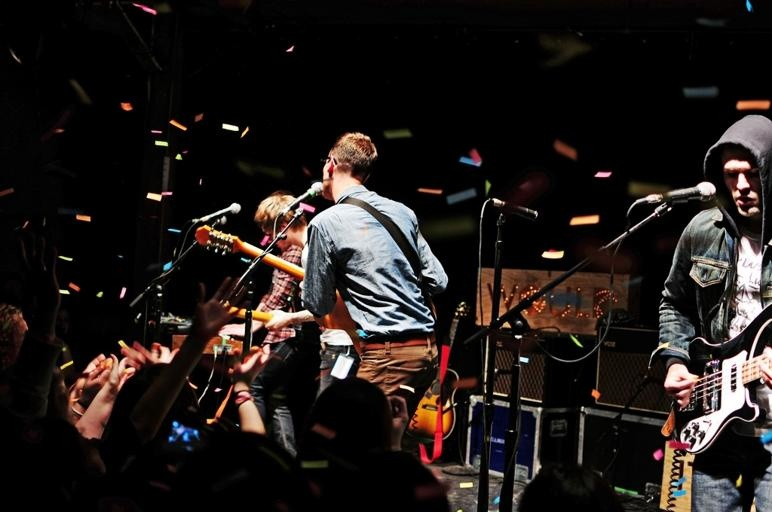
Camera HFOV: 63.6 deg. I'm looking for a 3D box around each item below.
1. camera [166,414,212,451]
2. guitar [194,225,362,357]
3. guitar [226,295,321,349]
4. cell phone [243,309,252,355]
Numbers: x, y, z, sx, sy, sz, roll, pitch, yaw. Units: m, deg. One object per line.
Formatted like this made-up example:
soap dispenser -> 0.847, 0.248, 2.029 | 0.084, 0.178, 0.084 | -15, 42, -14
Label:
camera -> -0.639, 0.584, 2.015 | 0.136, 0.099, 0.044 | 7, -21, 8
guitar -> -0.655, 0.239, 3.907 | 1.107, 0.421, 0.188 | 25, 14, 15
guitar -> -0.758, 0.445, 4.228 | 0.829, 0.318, 0.084 | -8, -58, 20
cell phone -> -0.909, 0.495, 4.071 | 0.033, 0.285, 0.032 | -5, -15, 32
